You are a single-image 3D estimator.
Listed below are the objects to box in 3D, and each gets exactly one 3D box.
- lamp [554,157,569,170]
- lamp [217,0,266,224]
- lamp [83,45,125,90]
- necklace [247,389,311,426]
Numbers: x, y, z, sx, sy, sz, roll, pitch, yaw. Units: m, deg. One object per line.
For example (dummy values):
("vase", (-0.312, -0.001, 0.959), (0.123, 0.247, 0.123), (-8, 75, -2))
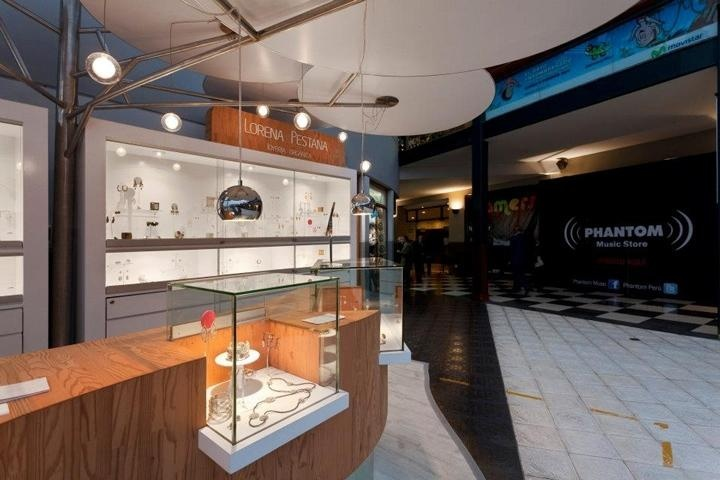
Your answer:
("lamp", (6.098, -2.257, 13.830), (0.362, 0.334, 0.384), (1, 4, 20))
("lamp", (-1.667, -1.375, 6.381), (0.500, 2.283, 3.630), (-2, 4, -12))
("lamp", (-2.615, -1.762, 4.681), (0.268, 0.445, 0.660), (-3, 4, -26))
("necklace", (-0.750, 1.481, 4.118), (0.210, 0.022, 0.497), (13, 7, 34))
